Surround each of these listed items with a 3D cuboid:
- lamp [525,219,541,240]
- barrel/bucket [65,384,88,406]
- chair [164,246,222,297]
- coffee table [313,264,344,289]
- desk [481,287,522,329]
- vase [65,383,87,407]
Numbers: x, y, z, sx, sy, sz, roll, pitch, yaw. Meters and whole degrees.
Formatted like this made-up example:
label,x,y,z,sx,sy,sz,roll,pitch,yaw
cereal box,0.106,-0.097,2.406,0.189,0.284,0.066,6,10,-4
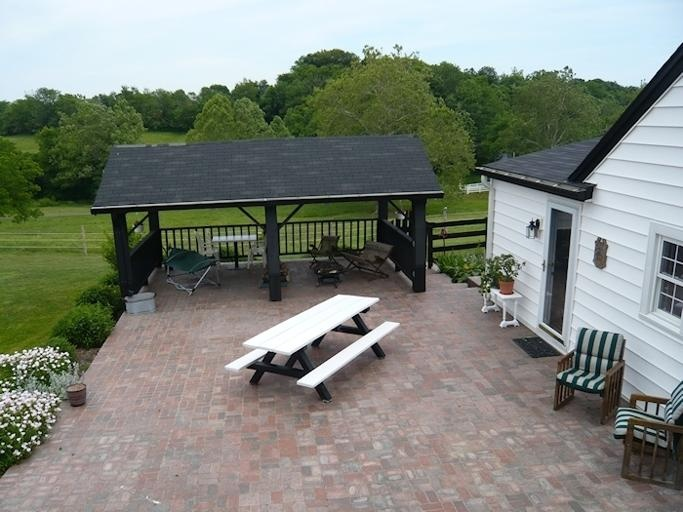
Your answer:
label,x,y,z,sx,sy,sz,roll,pitch,yaw
lamp,3.945,-0.575,10.234,0.156,0.479,0.368,-7,15,-11
barrel/bucket,-4.444,2.325,8.428,0.346,0.261,0.359,1,4,0
chair,-4.300,0.259,14.200,1.419,1.028,2.303,-8,15,-20
coffee table,-0.362,0.495,13.964,0.633,0.402,0.815,-2,16,-2
desk,3.614,1.039,11.260,0.649,0.766,1.249,-4,14,-5
vase,-4.407,2.351,8.345,0.353,0.266,0.366,0,4,-5
